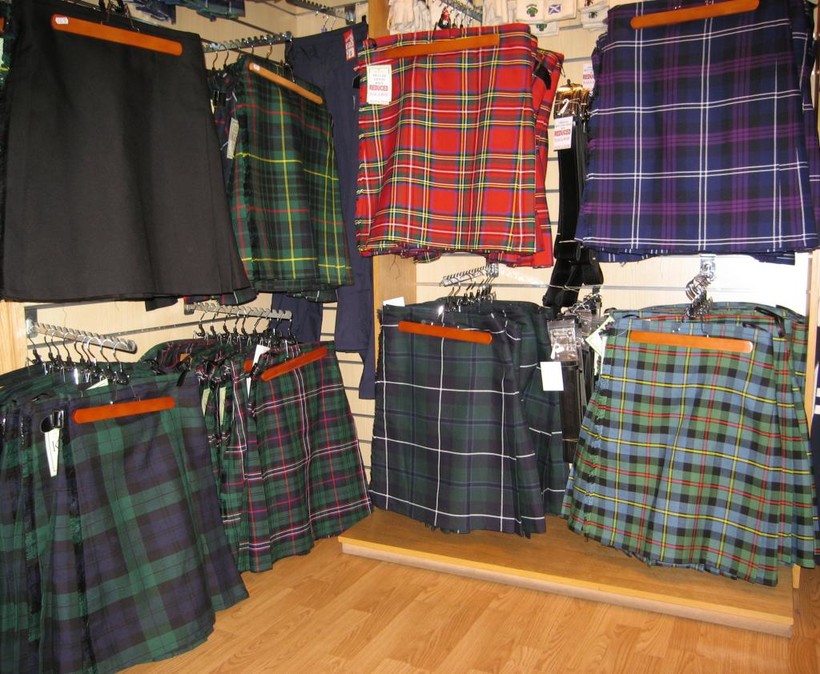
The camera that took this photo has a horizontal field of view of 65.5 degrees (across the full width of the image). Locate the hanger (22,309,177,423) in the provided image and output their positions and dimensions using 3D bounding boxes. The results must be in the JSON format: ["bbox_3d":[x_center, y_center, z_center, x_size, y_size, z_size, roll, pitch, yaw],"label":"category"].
[{"bbox_3d":[-1.074,0.065,2.168,0.446,0.344,0.151,0,6,18],"label":"hanger"}]

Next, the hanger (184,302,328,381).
[{"bbox_3d":[-0.690,-0.070,2.590,0.323,0.141,0.441,-13,24,-37],"label":"hanger"}]

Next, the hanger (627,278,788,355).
[{"bbox_3d":[0.998,-0.056,2.108,0.373,0.179,0.292,-2,19,9],"label":"hanger"}]

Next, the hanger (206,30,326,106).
[{"bbox_3d":[-0.591,-1.059,2.425,0.345,0.089,0.351,12,10,39],"label":"hanger"}]

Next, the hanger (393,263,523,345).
[{"bbox_3d":[0.224,-0.135,2.507,0.273,0.393,0.115,-3,-20,20],"label":"hanger"}]

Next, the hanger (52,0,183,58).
[{"bbox_3d":[-0.831,-0.877,1.903,0.441,0.090,0.036,9,-8,-44],"label":"hanger"}]
